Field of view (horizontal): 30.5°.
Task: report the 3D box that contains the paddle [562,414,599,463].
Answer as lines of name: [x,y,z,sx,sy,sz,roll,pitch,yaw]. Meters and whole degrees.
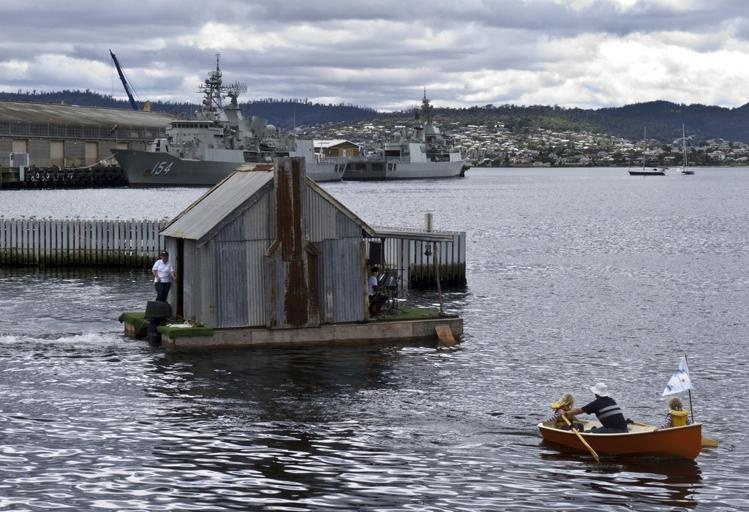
paddle: [5.890,5.333,39.711,0.255,1.639,0.096,-39,-3,-14]
